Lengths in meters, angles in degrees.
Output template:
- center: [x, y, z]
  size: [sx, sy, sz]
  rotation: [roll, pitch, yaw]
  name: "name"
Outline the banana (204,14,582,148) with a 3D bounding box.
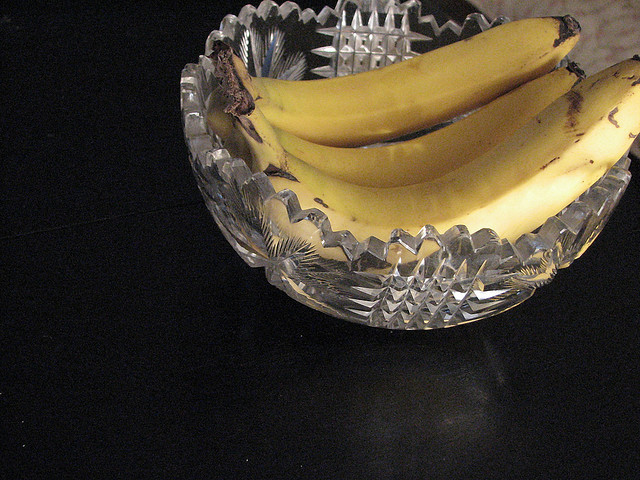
- center: [0.101, -0.223, 1.055]
  size: [0.366, 0.145, 0.079]
  rotation: [-15, 49, 11]
  name: "banana"
